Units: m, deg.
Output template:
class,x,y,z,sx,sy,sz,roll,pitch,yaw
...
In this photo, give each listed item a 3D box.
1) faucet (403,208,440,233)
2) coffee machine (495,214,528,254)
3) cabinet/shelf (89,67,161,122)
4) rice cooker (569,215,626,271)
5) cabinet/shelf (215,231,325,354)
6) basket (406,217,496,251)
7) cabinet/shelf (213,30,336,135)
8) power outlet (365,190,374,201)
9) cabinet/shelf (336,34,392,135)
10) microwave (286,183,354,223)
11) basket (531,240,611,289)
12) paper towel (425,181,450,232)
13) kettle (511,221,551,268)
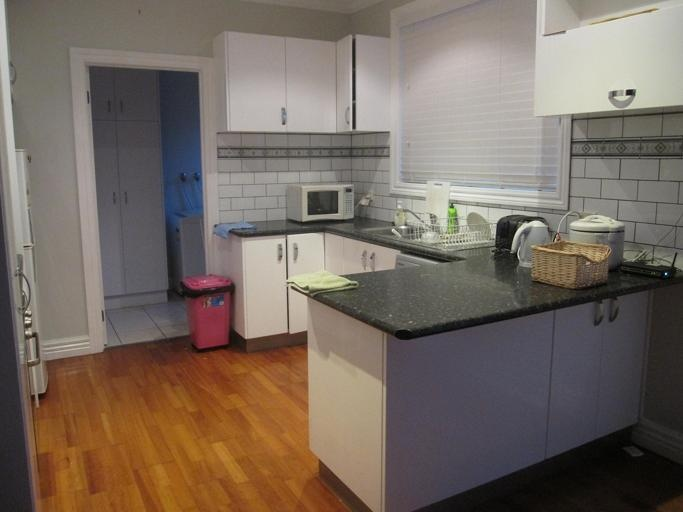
class,x,y,z,sx,sy,sz,roll,pitch,yaw
faucet,0.688,-0.278,4.164,0.148,0.104,0.291,1,17,-28
coffee machine,1.093,-0.151,3.435,0.240,0.250,0.171,-11,20,-32
cabinet/shelf,-2.342,-1.738,5.471,0.846,0.777,0.328,-2,4,-29
rice cooker,1.393,-0.084,2.873,0.278,0.318,0.306,-2,9,-10
cabinet/shelf,-0.691,0.206,4.808,0.991,1.164,0.702,-5,9,-30
basket,0.771,-0.145,3.749,0.347,0.084,0.318,-10,14,-40
cabinet/shelf,-0.536,-1.531,4.588,1.049,0.826,0.195,-7,14,-25
power outlet,0.287,-0.591,5.043,0.060,0.087,0.028,-1,-4,-4
cabinet/shelf,0.200,-1.553,4.648,0.497,0.824,0.236,-1,13,0
microwave,-0.213,-0.521,4.900,0.534,0.395,0.434,-2,15,-32
basket,1.167,0.028,2.637,0.267,0.248,0.354,-9,17,-31
paper towel,0.744,-0.372,3.923,0.044,0.467,0.328,-6,13,-25
kettle,1.117,-0.092,3.052,0.162,0.315,0.203,-1,13,-23
